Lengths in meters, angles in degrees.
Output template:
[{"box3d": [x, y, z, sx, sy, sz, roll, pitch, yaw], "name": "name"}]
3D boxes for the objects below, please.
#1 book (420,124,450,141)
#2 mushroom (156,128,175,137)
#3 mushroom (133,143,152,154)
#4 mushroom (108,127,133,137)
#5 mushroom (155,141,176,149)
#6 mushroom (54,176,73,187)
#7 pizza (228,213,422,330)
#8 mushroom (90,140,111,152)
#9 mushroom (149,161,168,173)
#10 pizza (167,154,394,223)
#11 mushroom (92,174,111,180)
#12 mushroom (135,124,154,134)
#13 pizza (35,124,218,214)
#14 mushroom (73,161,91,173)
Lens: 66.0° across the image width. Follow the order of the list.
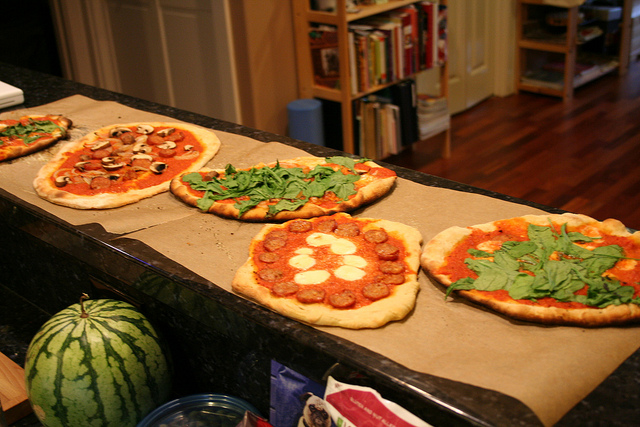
[{"box3d": [0.870, -0.620, 3.742, 0.274, 0.081, 0.048, -21, 42, -31], "name": "book"}, {"box3d": [-0.564, -0.299, 1.799, 0.046, 0.018, 0.069, 9, 30, 17], "name": "mushroom"}, {"box3d": [-0.620, -0.227, 1.708, 0.056, 0.011, 0.048, 21, 32, 18], "name": "mushroom"}, {"box3d": [-0.733, -0.301, 1.802, 0.082, 0.020, 0.068, -8, 30, -12], "name": "mushroom"}, {"box3d": [-0.538, -0.238, 1.717, 0.060, 0.012, 0.071, -16, 32, -26], "name": "mushroom"}, {"box3d": [-0.804, -0.103, 1.538, 0.046, 0.012, 0.042, -9, 29, -18], "name": "mushroom"}, {"box3d": [0.016, 0.127, 1.125, 0.393, 0.032, 0.279, 4, 31, 11], "name": "pizza"}, {"box3d": [-0.773, -0.239, 1.728, 0.060, 0.019, 0.053, -1, 29, 1], "name": "mushroom"}, {"box3d": [-0.532, -0.155, 1.606, 0.058, 0.012, 0.047, 16, 29, 20], "name": "mushroom"}, {"box3d": [-0.099, -0.077, 1.413, 0.548, 0.044, 0.252, -4, 25, -9], "name": "pizza"}, {"box3d": [-0.695, -0.118, 1.570, 0.059, 0.009, 0.025, 2, 30, 6], "name": "mushroom"}, {"box3d": [-0.650, -0.313, 1.817, 0.061, 0.012, 0.041, 7, 38, -12], "name": "mushroom"}, {"box3d": [-0.627, -0.173, 1.651, 0.409, 0.041, 0.502, 24, 37, 36], "name": "pizza"}, {"box3d": [-0.785, -0.154, 1.624, 0.056, 0.013, 0.040, 9, 35, 13], "name": "mushroom"}]
